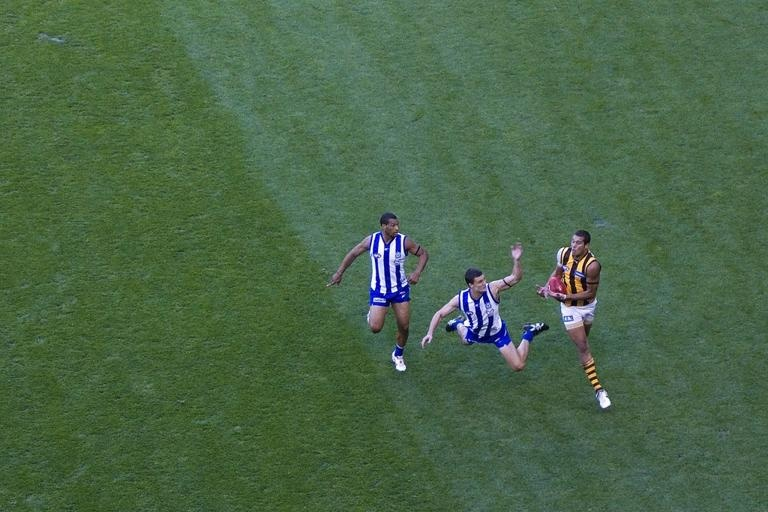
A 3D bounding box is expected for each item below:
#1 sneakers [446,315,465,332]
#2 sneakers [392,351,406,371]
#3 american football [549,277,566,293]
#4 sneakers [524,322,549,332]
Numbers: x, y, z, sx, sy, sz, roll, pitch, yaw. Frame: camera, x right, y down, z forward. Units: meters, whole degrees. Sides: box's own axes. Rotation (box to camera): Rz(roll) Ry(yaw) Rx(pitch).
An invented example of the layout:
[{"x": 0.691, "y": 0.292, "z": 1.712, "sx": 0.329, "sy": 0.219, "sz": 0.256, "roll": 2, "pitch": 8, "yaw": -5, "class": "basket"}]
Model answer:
[{"x": 1.176, "y": 1.099, "z": 21.741, "sx": 0.165, "sy": 0.398, "sz": 0.158, "roll": 2, "pitch": 75, "yaw": -18, "class": "sneakers"}, {"x": 0.236, "y": 1.749, "z": 22.100, "sx": 0.179, "sy": 0.170, "sz": 0.364, "roll": -22, "pitch": 66, "yaw": -27, "class": "sneakers"}, {"x": 2.815, "y": 0.456, "z": 21.339, "sx": 0.251, "sy": 0.062, "sz": 0.302, "roll": -17, "pitch": 72, "yaw": -2, "class": "american football"}, {"x": 2.561, "y": 1.178, "z": 21.925, "sx": 0.476, "sy": 0.184, "sz": 0.133, "roll": -3, "pitch": 105, "yaw": -8, "class": "sneakers"}]
